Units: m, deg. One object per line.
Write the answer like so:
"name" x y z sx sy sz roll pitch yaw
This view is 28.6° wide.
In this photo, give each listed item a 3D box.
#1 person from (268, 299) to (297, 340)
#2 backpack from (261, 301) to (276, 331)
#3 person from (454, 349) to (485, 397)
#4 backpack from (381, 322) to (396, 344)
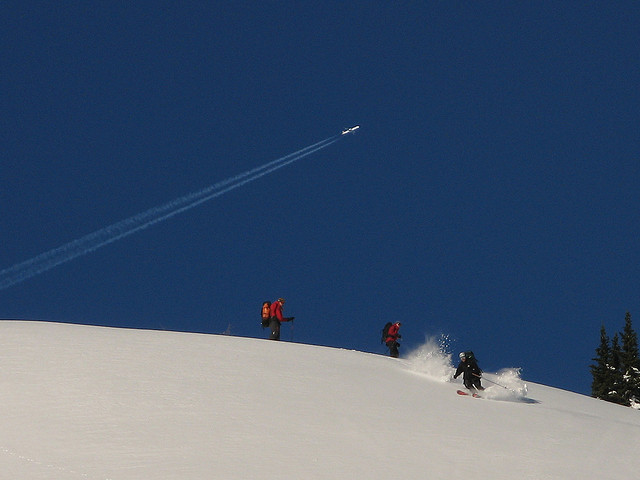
"person" -1.554 2.821 43.821 0.513 1.442 0.471 5 -12 -2
"backpack" -1.835 2.692 44.082 0.402 0.982 0.637 8 -12 -14
"person" 4.455 4.051 37.314 0.914 1.323 1.121 5 -12 1
"backpack" 2.457 3.339 45.001 0.423 0.672 0.648 4 -12 3
